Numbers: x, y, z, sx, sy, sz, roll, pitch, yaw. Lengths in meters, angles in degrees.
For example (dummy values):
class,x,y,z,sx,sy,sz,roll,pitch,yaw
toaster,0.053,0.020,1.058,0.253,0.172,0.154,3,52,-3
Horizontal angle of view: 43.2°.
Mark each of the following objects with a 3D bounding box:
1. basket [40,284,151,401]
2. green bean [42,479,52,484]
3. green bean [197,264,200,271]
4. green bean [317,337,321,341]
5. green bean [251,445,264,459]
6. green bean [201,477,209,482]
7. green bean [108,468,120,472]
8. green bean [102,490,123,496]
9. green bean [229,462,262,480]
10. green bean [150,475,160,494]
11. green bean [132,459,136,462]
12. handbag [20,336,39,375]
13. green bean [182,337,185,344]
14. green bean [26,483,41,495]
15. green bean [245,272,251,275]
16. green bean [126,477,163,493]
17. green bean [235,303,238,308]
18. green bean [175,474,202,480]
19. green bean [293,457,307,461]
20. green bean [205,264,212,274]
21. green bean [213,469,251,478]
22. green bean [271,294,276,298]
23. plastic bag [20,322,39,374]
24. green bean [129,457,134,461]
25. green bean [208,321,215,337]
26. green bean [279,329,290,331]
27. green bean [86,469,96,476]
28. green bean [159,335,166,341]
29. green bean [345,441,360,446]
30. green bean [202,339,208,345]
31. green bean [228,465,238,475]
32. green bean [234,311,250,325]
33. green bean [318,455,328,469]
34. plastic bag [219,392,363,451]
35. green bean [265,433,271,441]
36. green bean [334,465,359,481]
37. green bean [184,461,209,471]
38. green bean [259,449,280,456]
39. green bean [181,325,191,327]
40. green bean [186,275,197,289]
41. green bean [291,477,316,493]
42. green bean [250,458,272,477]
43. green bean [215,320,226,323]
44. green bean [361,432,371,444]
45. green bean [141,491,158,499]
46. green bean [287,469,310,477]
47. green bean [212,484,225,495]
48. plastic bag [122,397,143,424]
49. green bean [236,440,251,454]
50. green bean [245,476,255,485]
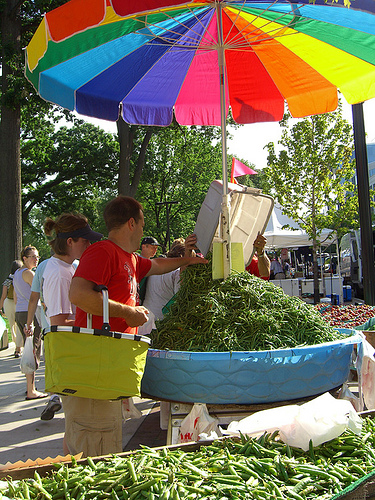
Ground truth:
class,x,y,z,sx,sy,sz,roll,pitch,yaw
basket,-0.374,0.456,2.352,0.580,0.505,0.344,7,-13,8
green bean,-0.485,0.800,1.629,0.023,0.014,0.021,-5,-15,17
green bean,0.081,0.133,3.499,0.014,0.047,0.029,-3,-4,32
green bean,0.816,0.552,2.924,0.020,0.016,0.020,0,-3,-16
green bean,0.267,0.757,1.774,0.011,0.014,0.057,-13,28,0
green bean,0.059,0.782,1.615,0.028,0.007,0.007,27,-13,35
green bean,-0.257,0.769,1.646,0.037,0.011,0.018,1,-4,-27
green bean,-0.248,0.800,1.552,0.067,0.017,0.031,0,-3,-8
green bean,0.202,0.782,1.665,0.096,0.014,0.013,24,6,18
green bean,-0.104,0.770,1.543,0.009,0.048,0.013,-36,-55,13
green bean,-0.195,0.762,1.703,0.015,0.013,0.003,-1,0,4
handbag,-1.999,1.341,5.948,0.190,0.501,0.297,0,-3,-17
green bean,-0.025,0.583,3.017,0.012,0.031,0.031,-1,-3,-5
green bean,-0.516,0.803,1.581,0.013,0.017,0.073,-1,8,-44
green bean,0.446,0.176,3.504,0.038,0.020,0.060,6,-6,-9
green bean,-0.143,0.776,1.553,0.090,0.015,0.014,-17,44,-22
green bean,0.319,0.366,3.076,0.016,0.022,0.010,-1,-3,-7
green bean,0.003,0.774,1.605,0.088,0.017,0.013,-1,-3,4
green bean,0.425,0.794,1.789,0.050,0.007,0.009,0,-25,-7
green bean,0.156,0.141,3.458,0.038,0.072,0.060,-3,-4,25
green bean,0.158,0.783,1.648,0.115,0.017,0.015,5,22,15
green bean,0.578,0.312,3.191,0.026,0.005,0.018,-25,-8,14
plastic bag,-1.984,1.259,5.953,0.247,0.516,0.282,-11,-15,34
green bean,-0.205,0.762,1.718,0.022,0.010,0.027,2,-20,-7
green bean,0.145,0.490,2.903,0.017,0.107,0.015,10,-37,19
green bean,0.595,0.495,2.918,0.101,0.014,0.014,6,1,-16
green bean,-0.333,0.777,1.646,0.025,0.008,0.045,-2,-4,19
green bean,-0.175,0.612,3.268,0.009,0.035,0.037,-34,-39,-8
green bean,0.666,0.780,1.901,0.052,0.016,0.011,-2,-3,15
green bean,0.105,0.560,2.858,0.012,0.045,0.043,38,-2,7
green bean,0.159,0.769,1.661,0.010,0.044,0.013,-35,-32,11
green bean,0.334,0.428,2.901,0.053,0.026,0.067,-17,-25,-21
green bean,0.513,0.805,1.782,0.008,0.009,0.037,-1,34,-16
plastic bag,0.453,0.725,1.976,0.614,0.146,0.284,0,-3,-11
green bean,0.319,0.742,1.870,0.008,0.033,0.005,27,-19,9
green bean,0.577,0.823,1.747,0.118,0.025,0.029,31,22,-8
green bean,0.031,0.762,1.692,0.099,0.016,0.021,-7,-44,-31
green bean,0.308,0.761,1.784,0.074,0.022,0.034,-1,-3,7
green bean,-0.007,0.501,3.111,0.011,0.009,0.090,1,-4,-34
green bean,0.029,0.237,3.452,0.018,0.115,0.014,35,-3,16
green bean,0.399,0.809,1.640,0.024,0.025,0.106,21,17,36
green bean,0.267,0.786,1.700,0.119,0.020,0.018,39,19,1
green bean,0.204,0.447,2.942,0.053,0.014,0.016,0,-3,-10
green bean,0.733,0.775,1.947,0.010,0.018,0.069,-43,0,43
green bean,-0.127,0.790,1.516,0.063,0.018,0.025,-2,-4,24
green bean,0.397,0.801,1.706,0.084,0.018,0.013,5,-13,25
green bean,0.100,0.797,1.570,0.048,0.018,0.011,-4,-4,42
plastic bag,-0.364,1.027,3.053,0.109,0.214,0.317,-1,-3,-7
green bean,0.220,0.759,1.831,0.075,0.016,0.015,-33,-11,-33
green bean,0.214,0.794,1.622,0.020,0.008,0.071,-3,-4,28
